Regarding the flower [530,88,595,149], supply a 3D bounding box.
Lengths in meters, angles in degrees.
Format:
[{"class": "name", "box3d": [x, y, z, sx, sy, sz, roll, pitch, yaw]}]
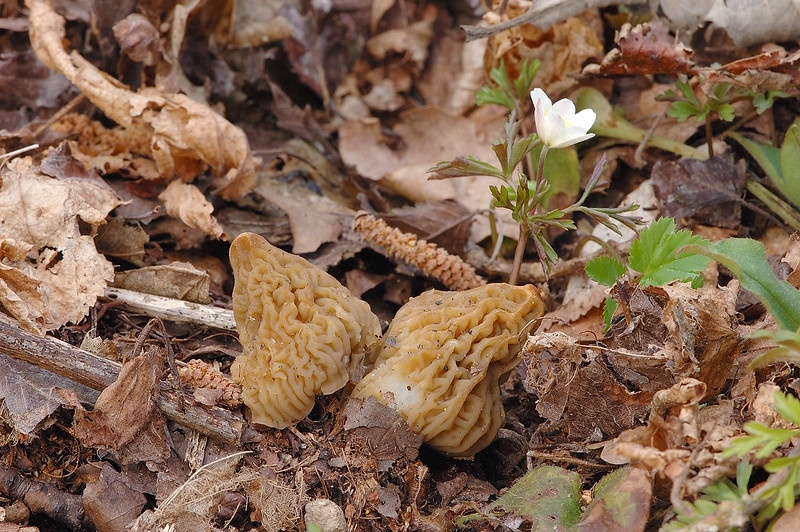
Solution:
[{"class": "flower", "box3d": [0.821, -0.754, 4.153, 0.340, 0.177, 0.341, 37, 26, 3]}]
